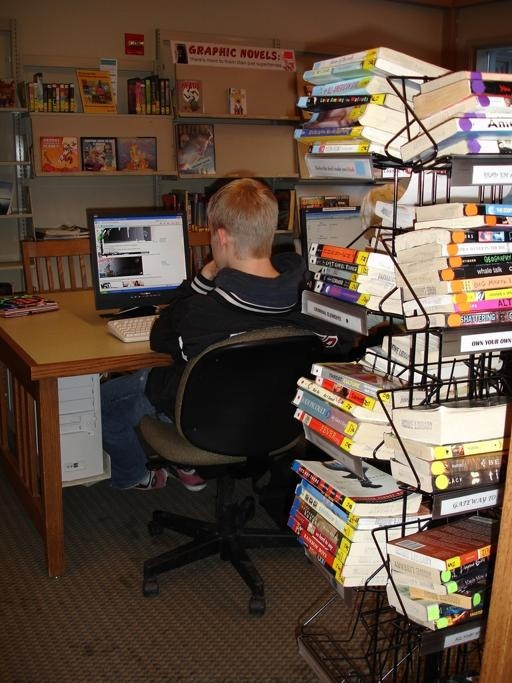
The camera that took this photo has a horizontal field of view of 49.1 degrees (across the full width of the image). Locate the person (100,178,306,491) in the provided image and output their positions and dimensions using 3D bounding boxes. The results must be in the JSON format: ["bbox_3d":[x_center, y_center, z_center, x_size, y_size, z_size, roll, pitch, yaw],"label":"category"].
[{"bbox_3d":[-0.177,0.050,1.890,0.471,1.098,0.732,-9,17,-43],"label":"person"}]

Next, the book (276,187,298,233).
[{"bbox_3d":[0.231,-0.995,4.281,0.071,0.269,0.292,-4,10,-37],"label":"book"}]

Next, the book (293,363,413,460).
[{"bbox_3d":[0.173,0.110,0.966,0.154,0.095,0.201,4,13,-25],"label":"book"}]

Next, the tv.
[{"bbox_3d":[-0.477,-0.314,2.298,0.471,0.425,0.163,-9,21,-23],"label":"tv"}]

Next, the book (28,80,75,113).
[{"bbox_3d":[-1.285,-1.509,3.500,0.272,0.207,0.080,-4,12,-29],"label":"book"}]

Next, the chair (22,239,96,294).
[{"bbox_3d":[-1.177,-0.446,3.315,0.220,0.250,0.410,-5,19,-18],"label":"chair"}]
